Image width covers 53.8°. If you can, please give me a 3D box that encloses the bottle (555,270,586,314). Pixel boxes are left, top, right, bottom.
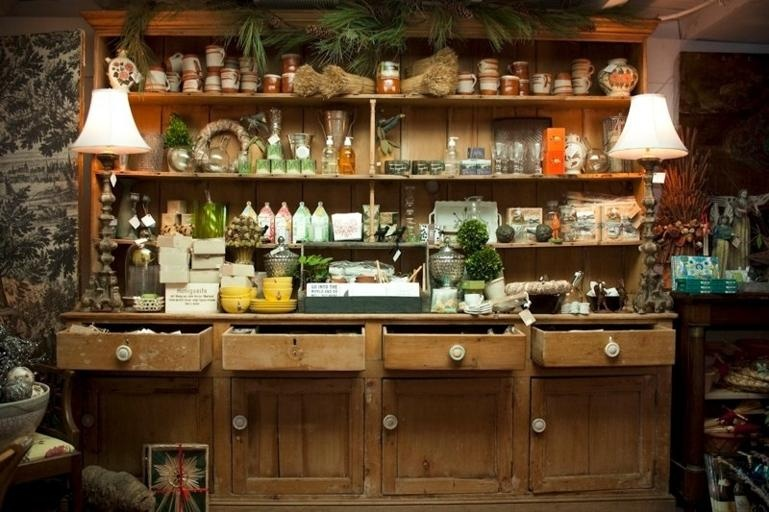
[{"bbox_3d":[1.213,0.222,4.918,0.138,0.248,0.557,0,2,18],"label":"bottle"}]

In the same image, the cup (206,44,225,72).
[{"bbox_3d":[-1.094,-1.273,4.965,0.150,0.156,0.143,2,-3,0],"label":"cup"}]

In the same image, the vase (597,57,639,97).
[{"bbox_3d":[1.523,-1.151,5.013,0.243,0.240,0.263,2,-1,3],"label":"vase"}]

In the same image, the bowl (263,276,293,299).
[{"bbox_3d":[-0.652,0.205,4.724,0.133,0.106,0.142,-2,-11,0],"label":"bowl"}]

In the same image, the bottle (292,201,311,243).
[{"bbox_3d":[-0.521,-0.209,4.934,0.120,0.251,0.169,-2,2,-25],"label":"bottle"}]

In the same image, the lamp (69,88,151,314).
[{"bbox_3d":[-1.719,-0.368,4.777,0.448,1.403,0.465,-1,1,-25],"label":"lamp"}]

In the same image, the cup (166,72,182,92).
[{"bbox_3d":[-1.387,-1.137,4.984,0.125,0.125,0.082,-1,4,-11],"label":"cup"}]

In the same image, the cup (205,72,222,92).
[{"bbox_3d":[-1.116,-1.122,4.944,0.111,0.110,0.113,1,0,0],"label":"cup"}]

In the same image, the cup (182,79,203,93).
[{"bbox_3d":[-1.252,-1.098,4.932,0.091,0.071,0.093,0,2,0],"label":"cup"}]

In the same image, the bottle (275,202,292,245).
[{"bbox_3d":[-0.660,-0.204,4.967,0.105,0.251,0.060,-1,1,-10],"label":"bottle"}]

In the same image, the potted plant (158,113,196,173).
[{"bbox_3d":[-1.339,-0.732,4.967,0.184,0.370,0.072,-1,1,-15],"label":"potted plant"}]

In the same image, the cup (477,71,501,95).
[{"bbox_3d":[0.681,-1.115,4.966,0.136,0.134,0.138,1,-5,0],"label":"cup"}]

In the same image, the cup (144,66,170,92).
[{"bbox_3d":[-1.481,-1.133,4.922,0.143,0.139,0.147,1,5,0],"label":"cup"}]

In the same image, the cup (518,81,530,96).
[{"bbox_3d":[0.913,-1.093,4.995,0.084,0.094,0.085,2,4,0],"label":"cup"}]

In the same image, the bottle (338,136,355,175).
[{"bbox_3d":[-0.250,-0.651,4.969,0.101,0.253,0.145,-1,1,-4],"label":"bottle"}]

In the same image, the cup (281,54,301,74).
[{"bbox_3d":[-0.607,-1.255,4.970,0.117,0.114,0.120,1,2,0],"label":"cup"}]

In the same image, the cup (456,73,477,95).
[{"bbox_3d":[0.533,-1.118,5.017,0.152,0.148,0.121,2,0,-7],"label":"cup"}]

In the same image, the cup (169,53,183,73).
[{"bbox_3d":[-1.375,-1.267,5.010,0.122,0.121,0.088,3,-3,-7],"label":"cup"}]

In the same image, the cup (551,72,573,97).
[{"bbox_3d":[1.172,-1.115,4.986,0.126,0.140,0.143,0,-1,2],"label":"cup"}]

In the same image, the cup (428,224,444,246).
[{"bbox_3d":[0.338,-0.130,5.050,0.120,0.205,0.127,0,2,0],"label":"cup"}]

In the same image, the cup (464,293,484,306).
[{"bbox_3d":[0.543,0.272,4.632,0.089,0.065,0.070,2,-3,-5],"label":"cup"}]

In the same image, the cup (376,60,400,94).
[{"bbox_3d":[0.026,-1.142,4.892,0.124,0.197,0.215,0,11,-3],"label":"cup"}]

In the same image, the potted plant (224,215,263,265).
[{"bbox_3d":[-0.861,-0.101,4.814,0.276,0.336,0.283,0,1,-8],"label":"potted plant"}]

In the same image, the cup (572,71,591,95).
[{"bbox_3d":[1.295,-1.122,4.992,0.135,0.147,0.100,2,2,12],"label":"cup"}]

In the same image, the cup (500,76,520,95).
[{"bbox_3d":[0.817,-1.103,4.955,0.120,0.119,0.122,1,0,0],"label":"cup"}]

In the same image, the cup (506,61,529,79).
[{"bbox_3d":[0.894,-1.229,5.074,0.134,0.134,0.095,1,3,23],"label":"cup"}]

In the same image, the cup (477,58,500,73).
[{"bbox_3d":[0.681,-1.233,4.962,0.116,0.089,0.093,0,2,2],"label":"cup"}]

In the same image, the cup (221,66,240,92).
[{"bbox_3d":[-0.991,-1.149,4.977,0.124,0.155,0.151,0,-3,2],"label":"cup"}]

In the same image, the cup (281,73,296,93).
[{"bbox_3d":[-0.628,-1.132,5.002,0.119,0.118,0.117,0,-1,0],"label":"cup"}]

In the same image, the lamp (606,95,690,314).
[{"bbox_3d":[1.635,-0.318,4.714,0.451,1.339,0.290,0,1,21],"label":"lamp"}]

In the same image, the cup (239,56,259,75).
[{"bbox_3d":[-0.888,-1.241,4.989,0.104,0.080,0.107,-1,3,0],"label":"cup"}]

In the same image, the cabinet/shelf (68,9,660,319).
[{"bbox_3d":[-0.106,-1.172,5.184,3.133,1.719,0.482,-2,-22,3],"label":"cabinet/shelf"}]

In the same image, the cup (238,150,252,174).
[{"bbox_3d":[-0.915,-0.608,4.949,0.087,0.151,0.111,-1,1,-14],"label":"cup"}]

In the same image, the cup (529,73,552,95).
[{"bbox_3d":[1.034,-1.124,5.002,0.150,0.124,0.121,2,-2,-9],"label":"cup"}]

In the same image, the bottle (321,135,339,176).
[{"bbox_3d":[-0.355,-0.664,4.982,0.099,0.252,0.071,-1,1,-8],"label":"bottle"}]

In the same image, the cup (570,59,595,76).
[{"bbox_3d":[1.300,-1.228,5.011,0.134,0.105,0.105,2,4,15],"label":"cup"}]

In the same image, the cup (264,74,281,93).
[{"bbox_3d":[-0.731,-1.117,5.001,0.112,0.110,0.114,1,0,0],"label":"cup"}]

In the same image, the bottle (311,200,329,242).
[{"bbox_3d":[-0.417,-0.229,5.040,0.114,0.268,0.237,-1,1,2],"label":"bottle"}]

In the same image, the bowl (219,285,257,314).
[{"bbox_3d":[-0.902,0.272,4.628,0.171,0.131,0.170,1,-4,0],"label":"bowl"}]

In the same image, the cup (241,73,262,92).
[{"bbox_3d":[-0.880,-1.131,5.037,0.132,0.130,0.108,2,-3,-10],"label":"cup"}]

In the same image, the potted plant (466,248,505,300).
[{"bbox_3d":[0.646,0.107,4.804,0.201,0.244,0.196,0,-6,6],"label":"potted plant"}]

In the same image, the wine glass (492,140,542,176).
[{"bbox_3d":[0.875,-0.632,4.980,0.316,0.218,0.152,-1,1,5],"label":"wine glass"}]
